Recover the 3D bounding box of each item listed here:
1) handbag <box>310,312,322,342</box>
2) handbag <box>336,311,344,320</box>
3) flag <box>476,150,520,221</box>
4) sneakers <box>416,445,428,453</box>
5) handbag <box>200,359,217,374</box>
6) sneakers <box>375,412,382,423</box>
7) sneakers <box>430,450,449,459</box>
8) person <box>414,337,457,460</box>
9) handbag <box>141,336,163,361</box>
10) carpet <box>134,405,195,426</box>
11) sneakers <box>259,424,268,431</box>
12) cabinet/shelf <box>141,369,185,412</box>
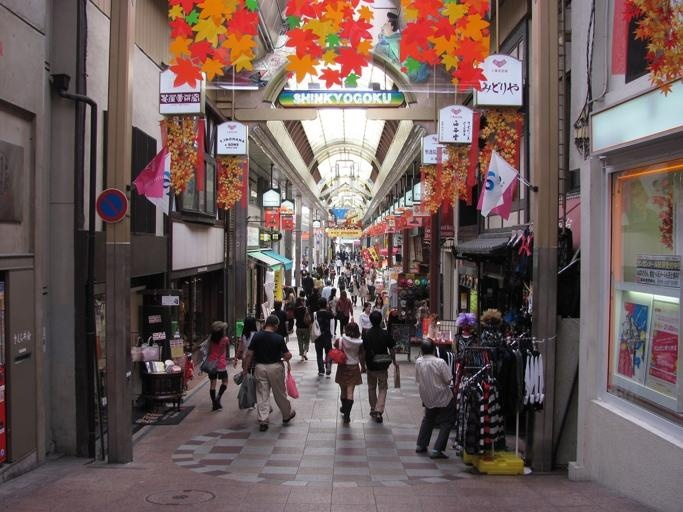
[{"bbox_3d":[-0.609,1.685,14.988,0.233,0.802,0.650,1,-13,-1],"label":"handbag"},{"bbox_3d":[-0.044,1.592,17.021,0.248,0.288,0.158,1,-5,2],"label":"handbag"},{"bbox_3d":[2.272,-1.073,9.152,0.549,0.962,0.707,0,0,14],"label":"flag"},{"bbox_3d":[1.194,2.855,9.429,0.134,0.115,0.082,7,-1,1],"label":"sneakers"},{"bbox_3d":[-2.516,2.065,11.892,0.358,0.273,0.131,0,0,26],"label":"handbag"},{"bbox_3d":[0.645,2.818,11.073,0.094,0.141,0.311,0,-9,3],"label":"sneakers"},{"bbox_3d":[1.432,2.855,9.178,0.293,0.141,0.107,-2,5,-10],"label":"sneakers"},{"bbox_3d":[1.398,2.088,9.455,0.569,1.707,0.763,0,0,7],"label":"person"},{"bbox_3d":[-3.460,1.745,11.730,0.404,0.608,0.295,1,-12,-9],"label":"handbag"},{"bbox_3d":[-3.178,2.840,11.355,0.798,0.062,1.202,0,0,-3],"label":"carpet"},{"bbox_3d":[-1.281,2.794,10.429,0.153,0.121,0.231,0,0,-6],"label":"sneakers"},{"bbox_3d":[-3.243,2.438,11.620,0.657,0.691,0.728,0,-3,11],"label":"cabinet/shelf"}]
